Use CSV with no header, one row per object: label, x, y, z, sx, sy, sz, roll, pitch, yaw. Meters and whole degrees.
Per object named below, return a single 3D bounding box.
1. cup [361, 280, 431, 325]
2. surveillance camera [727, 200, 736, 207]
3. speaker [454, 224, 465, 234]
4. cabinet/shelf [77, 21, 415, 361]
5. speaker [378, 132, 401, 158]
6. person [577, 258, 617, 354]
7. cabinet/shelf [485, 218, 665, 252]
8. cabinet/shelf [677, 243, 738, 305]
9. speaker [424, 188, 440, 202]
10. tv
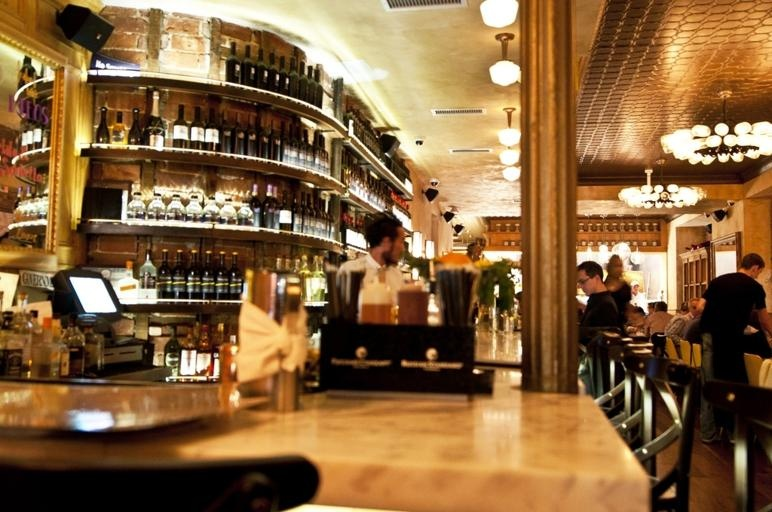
cup,0.028,0.138,1.982,0.223,0.135,0.229,1,5,0
surveillance camera,6.695,-1.201,12.107,0.173,0.070,0.157,6,-19,2
speaker,2.066,-1.000,17.590,0.287,0.235,0.266,-1,-2,22
cabinet/shelf,-1.160,-0.659,4.616,2.997,2.493,1.154,6,-10,-41
speaker,0.043,-1.697,8.478,0.343,0.242,0.459,32,22,-16
person,2.009,0.454,5.973,0.512,0.875,0.873,0,0,13
cabinet/shelf,5.327,-0.983,18.059,5.064,1.262,1.160,1,5,6
cabinet/shelf,6.101,0.165,11.836,0.463,1.400,1.557,2,-8,15
speaker,0.891,-1.393,12.192,0.221,0.105,0.295,4,-17,-18
tv,-1.810,0.203,3.879,0.357,0.356,0.425,-6,0,8
